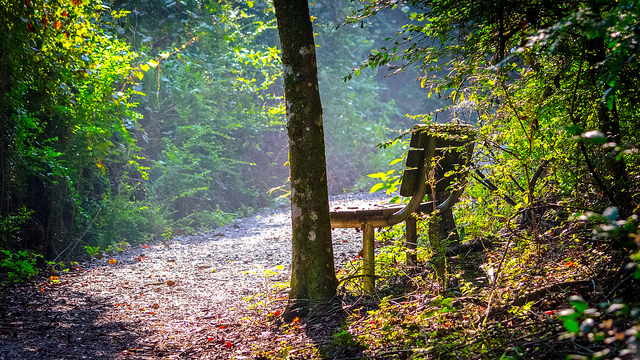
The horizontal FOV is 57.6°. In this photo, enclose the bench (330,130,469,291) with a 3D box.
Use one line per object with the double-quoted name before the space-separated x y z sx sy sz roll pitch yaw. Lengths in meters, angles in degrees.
"bench" 1.062 0.742 11.839 2.603 2.660 3.097 -8 -7 10
